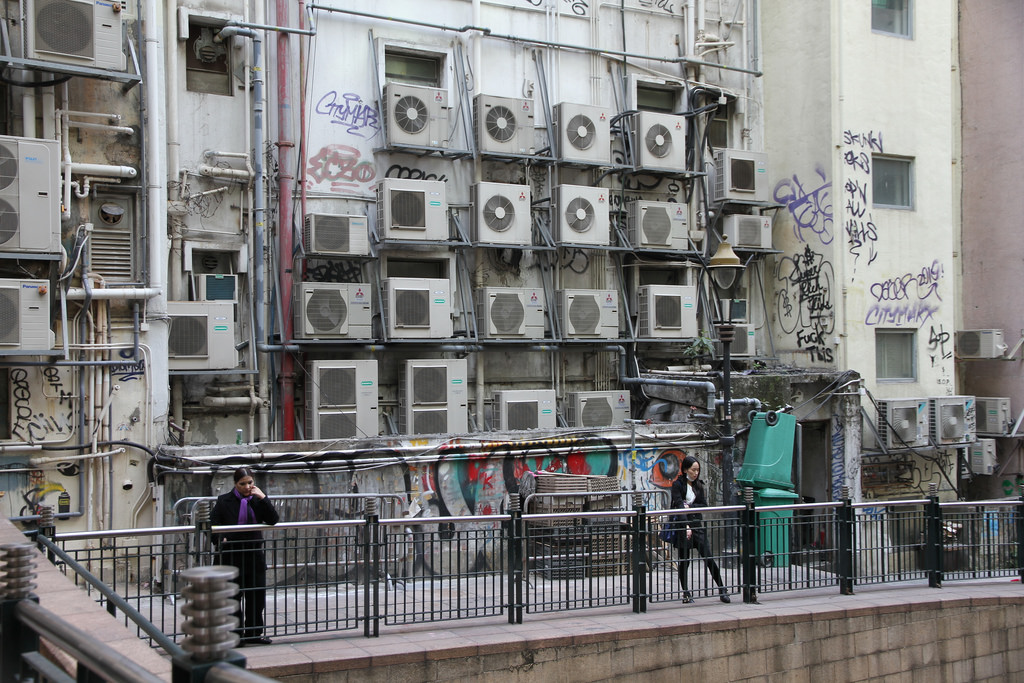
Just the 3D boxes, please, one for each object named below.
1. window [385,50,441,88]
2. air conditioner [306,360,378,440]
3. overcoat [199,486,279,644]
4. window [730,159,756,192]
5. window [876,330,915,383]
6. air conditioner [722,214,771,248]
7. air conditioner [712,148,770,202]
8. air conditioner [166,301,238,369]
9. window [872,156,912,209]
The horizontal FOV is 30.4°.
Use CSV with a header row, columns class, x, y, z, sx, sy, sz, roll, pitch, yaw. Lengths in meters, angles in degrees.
class,x,y,z,sx,sy,sz,roll,pitch,yaw
window,-2.109,-5.676,39.134,0.863,0.500,0.089,4,-8,-29
air conditioner,-3.399,1.152,37.493,1.473,1.771,0.664,0,-3,-18
overcoat,-4.496,3.659,31.696,1.099,2.802,0.781,-1,-3,-10
window,5.126,-3.675,41.450,0.661,0.642,0.162,4,0,-32
window,8.640,0.308,42.392,1.038,1.032,0.547,3,-7,-30
air conditioner,5.205,-2.408,41.701,1.239,0.935,0.668,2,-5,-26
air conditioner,5.095,-3.643,41.780,1.235,1.136,0.618,1,-4,-30
air conditioner,-6.035,-0.098,36.813,1.418,1.334,0.814,-1,-1,9
window,8.594,-3.576,42.441,1.216,1.232,0.093,2,-4,-24
